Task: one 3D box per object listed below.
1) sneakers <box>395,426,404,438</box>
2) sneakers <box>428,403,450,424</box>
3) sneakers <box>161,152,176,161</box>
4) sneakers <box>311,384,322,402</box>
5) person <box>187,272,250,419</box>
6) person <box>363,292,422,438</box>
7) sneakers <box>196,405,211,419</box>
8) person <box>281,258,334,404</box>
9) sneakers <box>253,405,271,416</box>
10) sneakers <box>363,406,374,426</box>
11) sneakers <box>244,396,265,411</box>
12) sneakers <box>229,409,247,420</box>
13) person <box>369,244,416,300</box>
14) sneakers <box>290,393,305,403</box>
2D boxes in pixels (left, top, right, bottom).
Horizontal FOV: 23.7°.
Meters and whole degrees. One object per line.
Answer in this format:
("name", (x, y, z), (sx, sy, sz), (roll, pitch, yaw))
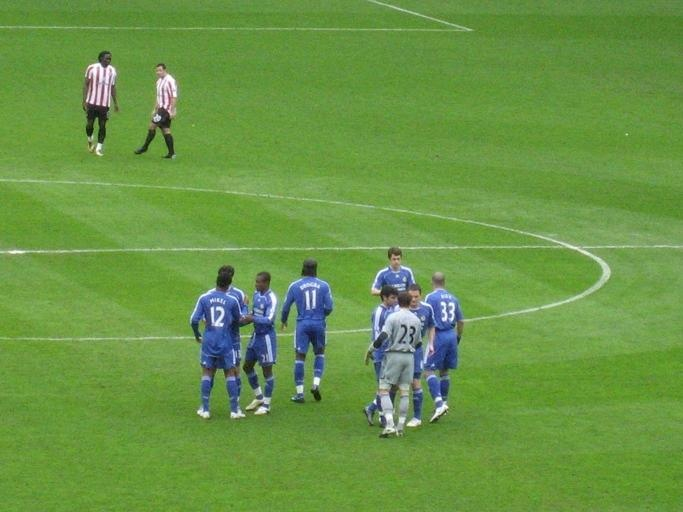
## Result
("sneakers", (1.187, 3.669, 33.643), (0.162, 0.100, 0.259), (4, 16, 2))
("sneakers", (2.011, 3.316, 34.154), (0.206, 0.253, 0.600), (2, -37, -43))
("sneakers", (-5.093, -2.906, 47.989), (0.435, 0.173, 0.146), (4, 8, 24))
("sneakers", (-0.550, 2.947, 35.020), (0.160, 0.412, 0.283), (-14, 38, 7))
("person", (-2.569, 1.829, 34.256), (1.219, 3.197, 0.572), (4, 3, -5))
("person", (1.073, 2.441, 33.790), (0.985, 2.599, 0.703), (5, 3, 2))
("sneakers", (-2.908, 3.308, 34.152), (0.178, 0.115, 0.282), (-1, 14, -31))
("person", (-0.771, 1.621, 35.531), (1.018, 3.099, 1.391), (4, 3, -1))
("sneakers", (-1.686, 3.288, 34.522), (0.322, 0.216, 0.258), (4, 3, -4))
("sneakers", (0.560, 3.359, 34.183), (0.225, 0.421, 0.150), (-12, 4, 3))
("sneakers", (-1.856, 3.213, 34.838), (0.211, 0.475, 0.169), (51, -4, -37))
("sneakers", (-2.183, 3.355, 34.327), (0.318, 0.189, 0.149), (-5, 11, -39))
("person", (1.152, 0.434, 37.402), (1.167, 1.429, 0.799), (-4, 18, -13))
("sneakers", (-0.951, 3.078, 35.172), (0.152, 0.200, 0.303), (-8, 15, -43))
